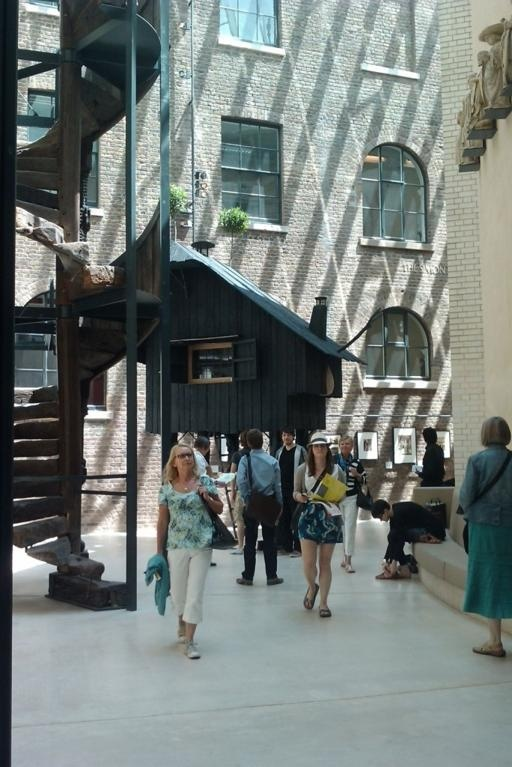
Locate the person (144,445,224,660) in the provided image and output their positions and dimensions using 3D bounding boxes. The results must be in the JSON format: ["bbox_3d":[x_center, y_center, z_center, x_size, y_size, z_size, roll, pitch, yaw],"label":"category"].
[{"bbox_3d":[-0.458,1.195,6.985,0.384,1.278,0.623,3,2,-32],"label":"person"}]

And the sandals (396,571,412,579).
[{"bbox_3d":[1.598,2.079,10.412,0.124,0.115,0.071,11,-13,-37],"label":"sandals"}]

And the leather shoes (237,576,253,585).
[{"bbox_3d":[-0.110,2.061,9.988,0.068,0.096,0.201,0,6,-34],"label":"leather shoes"}]

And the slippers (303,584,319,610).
[{"bbox_3d":[0.489,1.897,8.465,0.099,0.284,0.071,19,17,38],"label":"slippers"}]

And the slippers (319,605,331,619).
[{"bbox_3d":[0.591,1.940,8.164,0.105,0.087,0.198,4,2,4],"label":"slippers"}]

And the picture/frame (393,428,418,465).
[{"bbox_3d":[2.888,1.235,18.775,0.694,0.877,0.056,1,-3,-39],"label":"picture/frame"}]

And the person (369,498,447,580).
[{"bbox_3d":[1.601,1.686,10.307,0.971,0.812,0.527,3,2,-39],"label":"person"}]

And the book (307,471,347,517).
[{"bbox_3d":[0.601,0.939,8.125,0.289,0.309,0.139,4,1,3],"label":"book"}]

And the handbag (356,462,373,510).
[{"bbox_3d":[1.220,1.204,10.836,0.109,0.458,0.179,6,-14,-41],"label":"handbag"}]

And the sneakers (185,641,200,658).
[{"bbox_3d":[-0.435,1.887,6.767,0.098,0.094,0.209,4,2,-12],"label":"sneakers"}]

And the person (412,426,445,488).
[{"bbox_3d":[2.369,0.996,12.946,0.313,0.752,1.202,4,2,10],"label":"person"}]

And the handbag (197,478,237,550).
[{"bbox_3d":[-0.255,1.040,7.089,0.192,0.423,0.157,-19,-39,21],"label":"handbag"}]
